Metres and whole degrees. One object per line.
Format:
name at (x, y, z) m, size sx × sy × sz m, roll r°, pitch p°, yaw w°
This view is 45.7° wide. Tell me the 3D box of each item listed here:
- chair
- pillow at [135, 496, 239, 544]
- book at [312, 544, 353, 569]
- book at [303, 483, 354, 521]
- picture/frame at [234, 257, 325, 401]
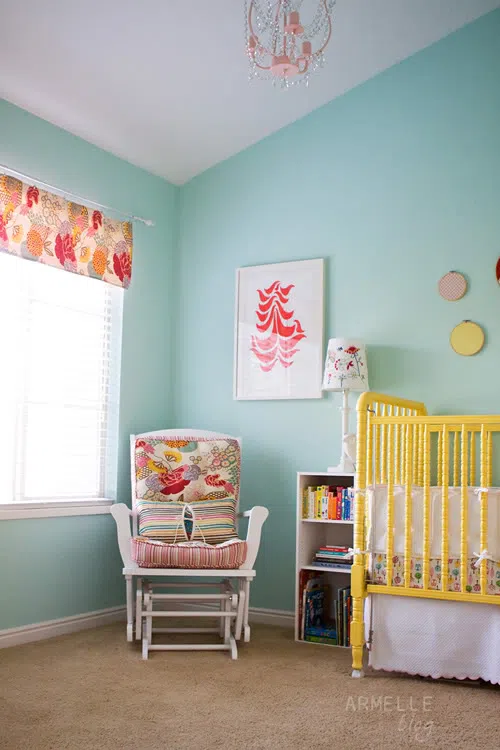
chair at (-0.289, 0.712, 2.679) m, size 0.622 × 0.952 × 0.694 m, roll 4°, pitch -9°, yaw -20°
pillow at (-0.299, 0.689, 2.810) m, size 0.475 × 0.198 × 0.182 m, roll 4°, pitch -12°, yaw -12°
book at (0.392, 0.876, 2.870) m, size 0.185 × 0.095 × 0.185 m, roll 0°, pitch -12°, yaw 6°
book at (0.377, 0.621, 2.867) m, size 0.265 × 0.160 × 0.080 m, roll -11°, pitch -17°, yaw 44°
picture/frame at (0.185, -0.238, 3.341) m, size 0.785 × 1.050 × 0.048 m, roll -3°, pitch -11°, yaw 30°
